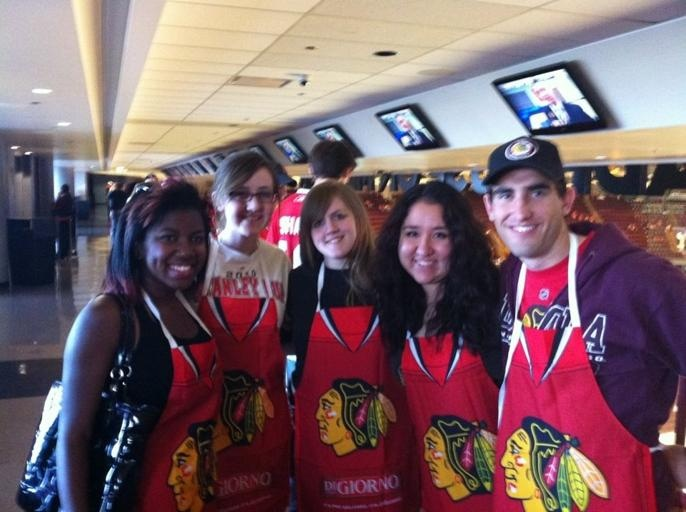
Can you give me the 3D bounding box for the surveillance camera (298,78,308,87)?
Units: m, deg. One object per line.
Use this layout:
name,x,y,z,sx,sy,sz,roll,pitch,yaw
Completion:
surveillance camera,-0.530,-2.300,6.648,0.080,0.079,0.077,2,5,-9

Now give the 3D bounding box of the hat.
hat,0.695,-0.371,2.064,0.254,0.201,0.434,-3,-4,17
